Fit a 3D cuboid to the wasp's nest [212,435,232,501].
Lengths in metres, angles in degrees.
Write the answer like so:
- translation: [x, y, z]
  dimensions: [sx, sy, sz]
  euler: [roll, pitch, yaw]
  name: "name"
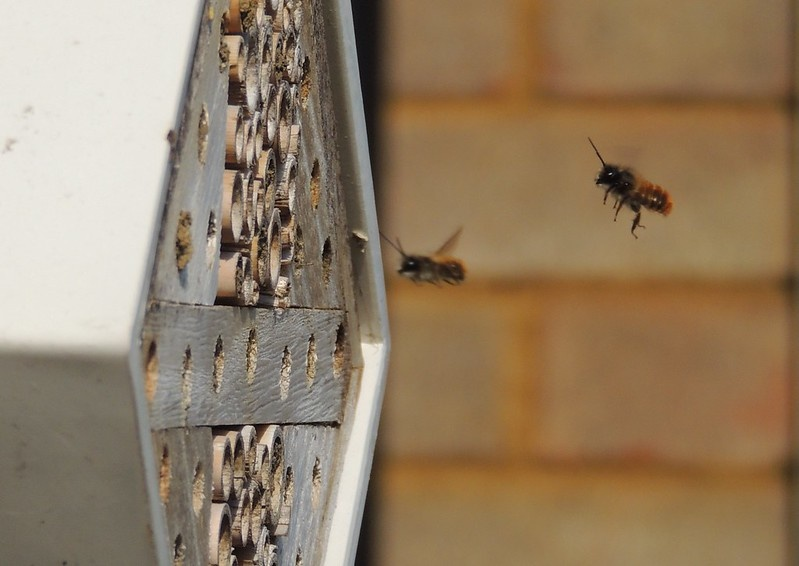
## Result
- translation: [-0.530, 0.552, 5.150]
  dimensions: [0.052, 0.146, 0.184]
  euler: [-3, -102, 10]
  name: "wasp's nest"
